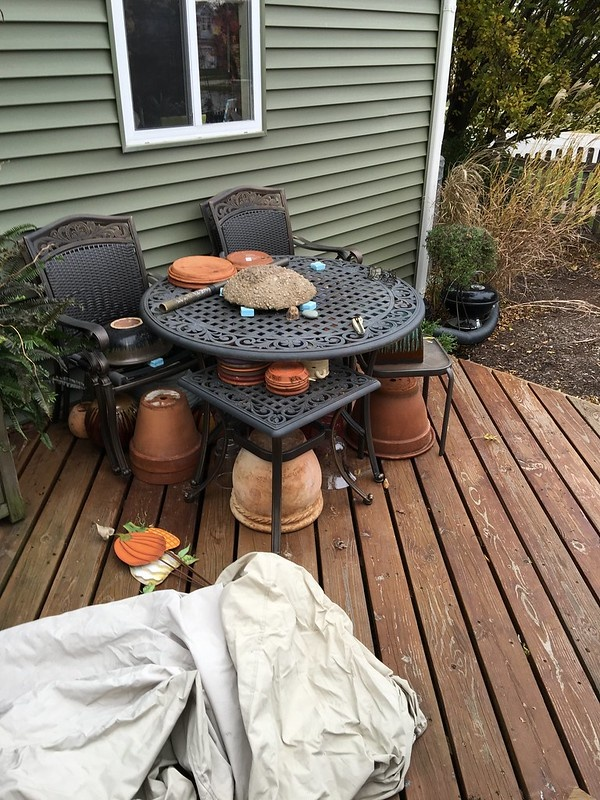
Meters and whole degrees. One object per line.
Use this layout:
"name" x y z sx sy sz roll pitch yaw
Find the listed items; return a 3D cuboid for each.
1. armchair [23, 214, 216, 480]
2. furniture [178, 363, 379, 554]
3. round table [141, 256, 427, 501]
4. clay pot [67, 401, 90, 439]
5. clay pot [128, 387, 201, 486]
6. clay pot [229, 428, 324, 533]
"armchair" -0.764 -0.188 2.084 0.570 0.999 0.706 -29 61 -33
"furniture" -0.104 0.146 2.043 0.640 0.573 0.678 -26 41 -36
"round table" -0.051 -0.079 1.994 0.800 0.197 0.813 0 36 0
"clay pot" -1.013 0.094 2.324 0.110 0.130 0.110 9 25 -4
"clay pot" -0.532 0.128 2.223 0.329 0.362 0.364 -1 35 -11
"clay pot" -0.083 0.300 1.977 0.365 0.267 0.362 -2 15 1
